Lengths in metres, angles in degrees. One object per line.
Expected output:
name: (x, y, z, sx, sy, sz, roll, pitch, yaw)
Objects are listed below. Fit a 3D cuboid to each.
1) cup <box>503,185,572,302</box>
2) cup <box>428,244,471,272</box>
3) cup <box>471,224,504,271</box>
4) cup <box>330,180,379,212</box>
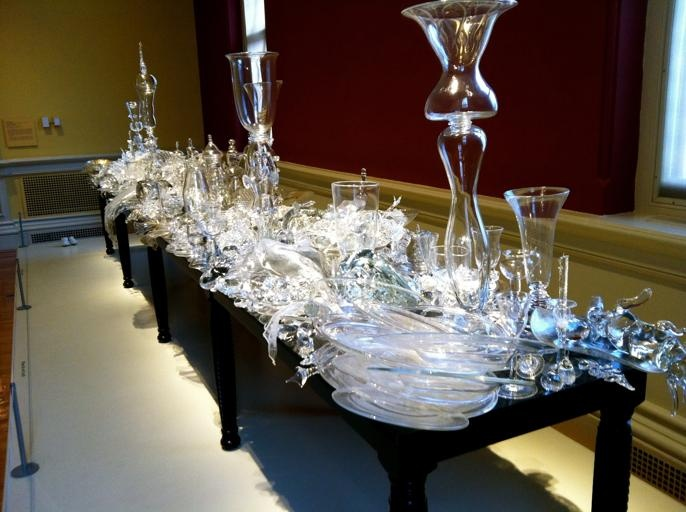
cup: (0.462, -0.033, 1.231, 0.133, 0.266, 0.153, 3, 14, 22)
cup: (0.281, 0.001, 1.322, 0.067, 0.078, 0.070, 0, 3, 0)
cup: (0.389, -0.018, 1.346, 0.063, 0.139, 0.212, 4, 14, 24)
cup: (0.034, -0.180, 1.512, 0.098, 0.081, 0.101, 0, 7, 0)
